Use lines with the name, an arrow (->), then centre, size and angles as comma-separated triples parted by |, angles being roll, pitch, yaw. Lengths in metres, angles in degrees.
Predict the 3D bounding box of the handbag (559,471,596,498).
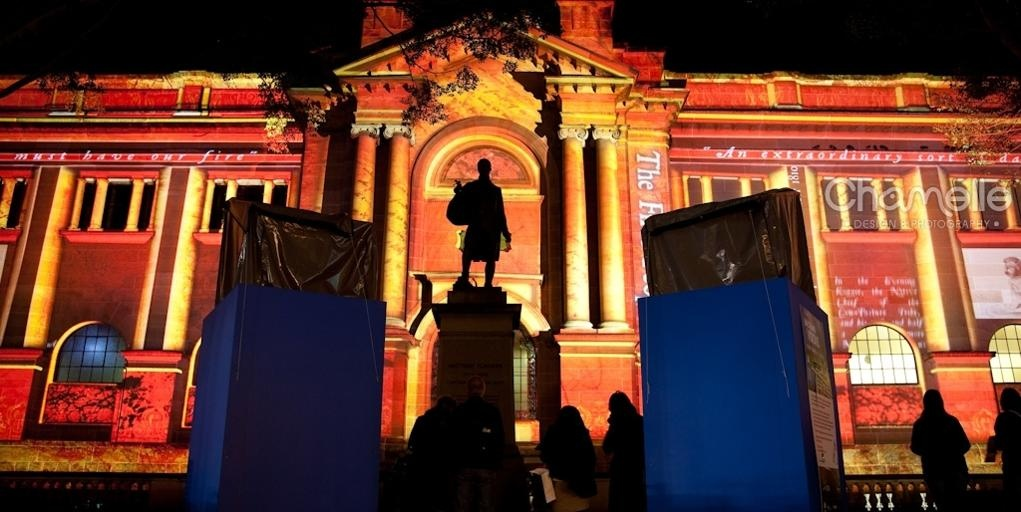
handbag -> 1.899, 6.563, 22.543 | 1.082, 0.618, 0.766 | 0, -9, 1
